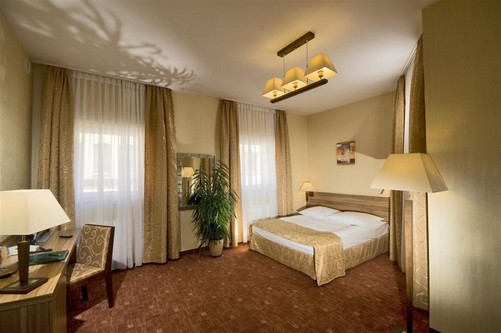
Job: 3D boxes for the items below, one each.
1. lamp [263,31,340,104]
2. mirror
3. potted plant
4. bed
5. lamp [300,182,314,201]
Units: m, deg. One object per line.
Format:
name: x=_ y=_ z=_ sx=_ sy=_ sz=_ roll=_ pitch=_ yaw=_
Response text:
lamp: x=0.706 y=-1.536 z=5.071 sx=0.386 sy=0.876 sz=1.200 roll=8 pitch=-15 yaw=-44
mirror: x=-1.132 y=0.332 z=6.470 sx=1.069 sy=1.540 sz=0.068 roll=3 pitch=-4 yaw=-38
potted plant: x=-0.753 y=0.820 z=6.547 sx=0.958 sy=1.708 sz=0.948 roll=-1 pitch=14 yaw=-2
bed: x=1.546 y=1.287 z=6.127 sx=1.720 sy=0.951 sz=1.771 roll=3 pitch=-4 yaw=-34
lamp: x=1.410 y=0.631 z=8.132 sx=0.404 sy=0.491 sz=0.417 roll=0 pitch=-4 yaw=-8
